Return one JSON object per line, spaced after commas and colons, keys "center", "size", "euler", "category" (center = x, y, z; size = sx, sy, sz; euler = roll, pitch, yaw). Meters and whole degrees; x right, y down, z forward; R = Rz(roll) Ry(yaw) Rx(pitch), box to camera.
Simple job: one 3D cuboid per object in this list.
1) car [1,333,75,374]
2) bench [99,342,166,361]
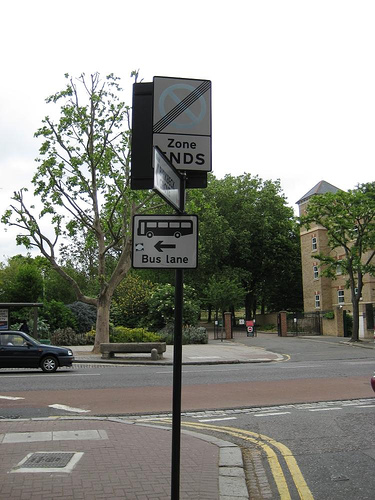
{"center": [-4.859, 3.378, 17.628], "size": [2.292, 0.779, 1.043], "euler": [1, -6, -9], "category": "car"}
{"center": [-2.304, 4.255, 22.985], "size": [2.696, 0.668, 2.078], "euler": [1, -8, 1], "category": "bench"}
